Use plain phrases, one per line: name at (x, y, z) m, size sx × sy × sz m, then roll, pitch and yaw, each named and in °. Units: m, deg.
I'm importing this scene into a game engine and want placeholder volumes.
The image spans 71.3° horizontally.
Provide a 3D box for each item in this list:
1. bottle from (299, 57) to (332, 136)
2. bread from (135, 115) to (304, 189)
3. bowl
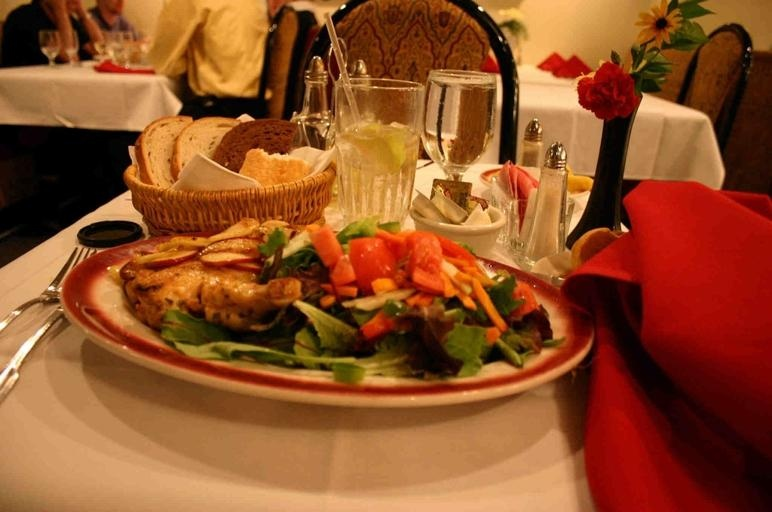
bottle at (-0.197, -0.443, 1.492) m, size 0.089 × 0.199 × 0.188 m, roll -1°, pitch 24°, yaw -8°
bread at (-0.425, -0.260, 1.291) m, size 0.315 × 0.104 × 0.240 m, roll 2°, pitch 32°, yaw -25°
bowl at (0.140, -0.039, 0.945) m, size 0.102 × 0.047 × 0.102 m, roll 7°, pitch 14°, yaw -2°
